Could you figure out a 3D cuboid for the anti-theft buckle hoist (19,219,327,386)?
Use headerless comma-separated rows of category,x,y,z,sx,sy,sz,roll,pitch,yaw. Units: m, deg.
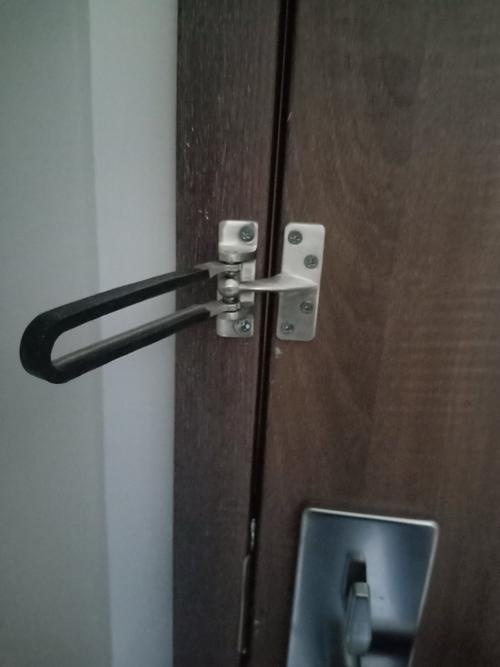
anti-theft buckle hoist,-0.059,-0.031,0.458,0.225,0.117,0.131,-16,33,-41

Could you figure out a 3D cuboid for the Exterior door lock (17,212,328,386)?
Exterior door lock,-0.058,-0.035,0.461,0.224,0.118,0.132,-16,32,-41
